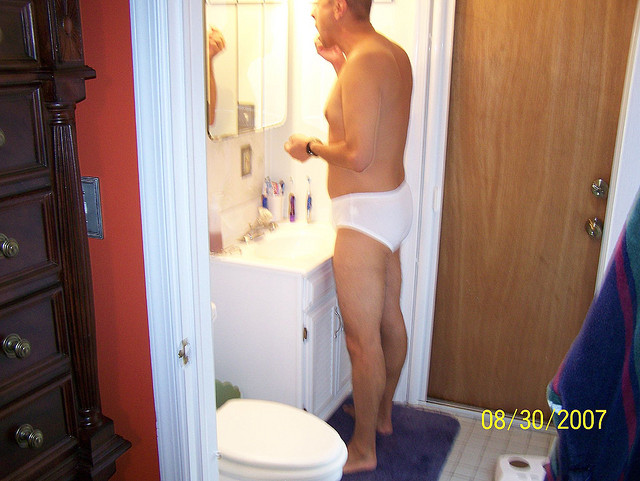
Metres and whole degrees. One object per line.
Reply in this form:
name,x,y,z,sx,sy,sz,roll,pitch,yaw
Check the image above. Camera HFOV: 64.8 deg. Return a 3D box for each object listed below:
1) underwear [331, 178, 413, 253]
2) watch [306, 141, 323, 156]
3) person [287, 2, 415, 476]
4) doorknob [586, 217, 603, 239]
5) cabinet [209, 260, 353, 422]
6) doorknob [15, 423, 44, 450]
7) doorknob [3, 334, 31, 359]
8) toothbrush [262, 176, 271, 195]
underwear,0.223,-0.102,2.191,0.332,0.254,0.204,0,22,-1
watch,-0.020,-0.407,2.243,0.059,0.066,0.100,-9,25,-21
person,0.181,-0.007,2.227,0.490,1.902,0.652,-5,21,-14
doorknob,1.240,-0.055,2.276,0.026,0.092,0.060,-4,-4,-39
cabinet,-0.146,0.357,2.740,0.579,1.032,0.959,3,16,22
doorknob,-0.568,0.378,1.003,0.039,0.061,0.054,-1,-5,15
doorknob,-0.570,0.200,0.942,0.036,0.046,0.040,0,-3,21
toothbrush,-0.286,-0.301,2.731,0.034,0.076,0.089,-5,23,-12
